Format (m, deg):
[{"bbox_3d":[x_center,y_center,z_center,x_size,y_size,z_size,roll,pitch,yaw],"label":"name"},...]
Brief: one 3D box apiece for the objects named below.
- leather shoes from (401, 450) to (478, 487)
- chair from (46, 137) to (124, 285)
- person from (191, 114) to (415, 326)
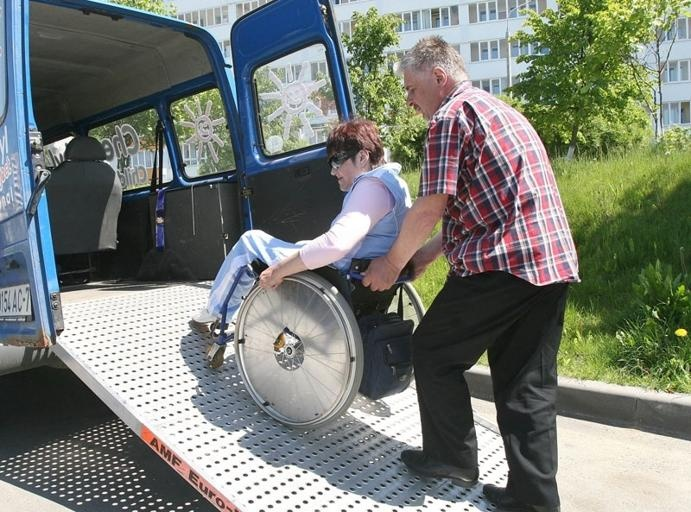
[{"bbox_3d":[0.581,1.352,3.853,0.494,0.238,0.186,11,11,27],"label":"leather shoes"},{"bbox_3d":[-2.784,-0.406,6.396,0.691,1.715,0.739,11,14,38],"label":"chair"},{"bbox_3d":[-0.327,-0.247,4.117,1.358,1.562,1.057,5,-8,27],"label":"person"}]
